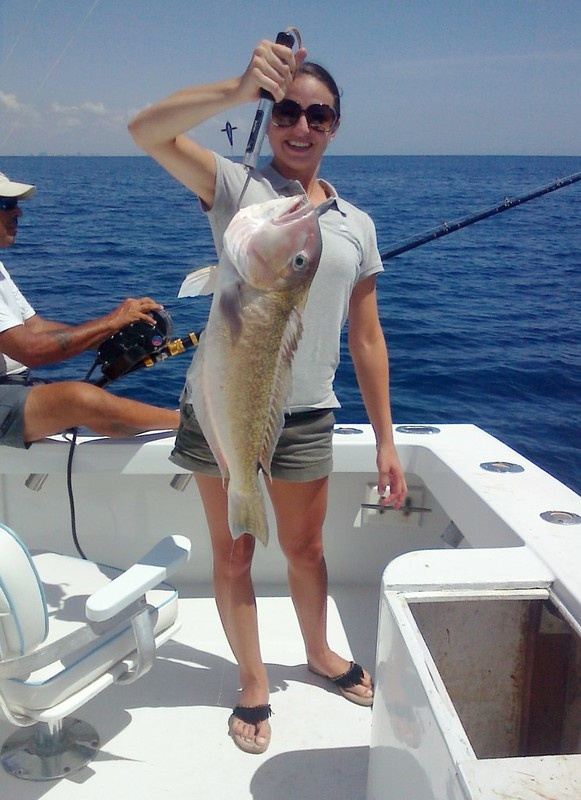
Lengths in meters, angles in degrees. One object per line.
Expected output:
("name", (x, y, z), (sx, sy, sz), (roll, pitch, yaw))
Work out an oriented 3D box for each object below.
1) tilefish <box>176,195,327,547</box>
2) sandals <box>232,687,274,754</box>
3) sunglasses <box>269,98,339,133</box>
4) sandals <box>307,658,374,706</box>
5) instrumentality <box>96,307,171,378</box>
("tilefish", (-0.065, -0.050, 1.382), (0.221, 0.625, 0.154), (11, 21, 42))
("sandals", (-0.106, 0.857, 2.051), (0.100, 0.077, 0.251), (7, 10, -8))
("sunglasses", (0.024, -0.592, 1.554), (0.133, 0.044, 0.121), (0, 15, -5))
("sandals", (0.146, 0.831, 2.225), (0.187, 0.050, 0.086), (20, 3, 34))
("instrumentality", (-0.518, -0.181, 2.434), (0.243, 0.077, 0.174), (-38, 37, 5))
